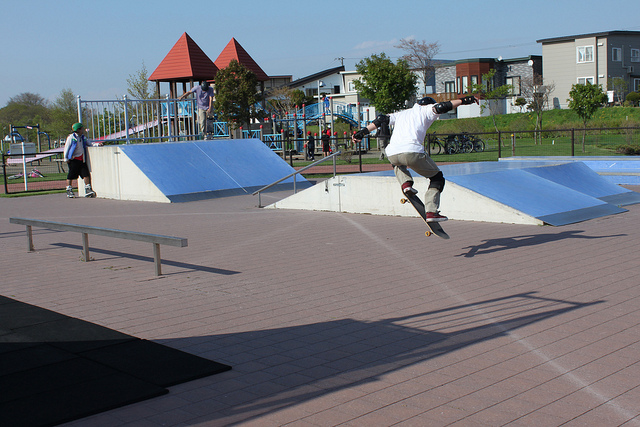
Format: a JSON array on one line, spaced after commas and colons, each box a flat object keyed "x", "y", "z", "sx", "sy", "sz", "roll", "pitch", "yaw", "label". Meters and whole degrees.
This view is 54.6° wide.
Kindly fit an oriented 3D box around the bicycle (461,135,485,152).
[{"x": 8.291, "y": -3.672, "z": 32.926, "sx": 1.473, "sy": 0.738, "sz": 0.669, "roll": 11, "pitch": -15, "yaw": -27, "label": "bicycle"}]

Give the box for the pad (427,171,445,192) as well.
[{"x": 1.773, "y": -0.483, "z": 9.518, "sx": 0.222, "sy": 0.320, "sz": 0.315, "roll": 1, "pitch": 15, "yaw": 13, "label": "pad"}]

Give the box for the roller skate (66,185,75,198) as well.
[{"x": -7.140, "y": -0.661, "z": 17.741, "sx": 0.169, "sy": 0.375, "sz": 0.532, "roll": -10, "pitch": 16, "yaw": -23, "label": "roller skate"}]

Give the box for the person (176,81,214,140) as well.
[{"x": -3.931, "y": -3.374, "z": 20.428, "sx": 0.878, "sy": 1.956, "sz": 1.068, "roll": -6, "pitch": 16, "yaw": -8, "label": "person"}]

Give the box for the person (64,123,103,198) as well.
[{"x": -6.706, "y": -1.484, "z": 17.447, "sx": 1.045, "sy": 2.117, "sz": 1.519, "roll": -7, "pitch": 16, "yaw": -15, "label": "person"}]

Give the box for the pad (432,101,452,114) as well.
[{"x": 1.842, "y": -1.589, "z": 9.239, "sx": 0.190, "sy": 0.095, "sz": 0.239, "roll": -14, "pitch": 1, "yaw": 37, "label": "pad"}]

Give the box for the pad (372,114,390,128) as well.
[{"x": 0.986, "y": -1.473, "z": 9.855, "sx": 0.278, "sy": 0.106, "sz": 0.199, "roll": -9, "pitch": -3, "yaw": 31, "label": "pad"}]

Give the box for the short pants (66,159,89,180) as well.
[{"x": -6.826, "y": -1.260, "z": 17.493, "sx": 0.632, "sy": 0.607, "sz": 0.387, "roll": -11, "pitch": 17, "yaw": -28, "label": "short pants"}]

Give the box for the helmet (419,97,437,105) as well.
[{"x": 1.643, "y": -1.748, "z": 9.546, "sx": 0.236, "sy": 0.107, "sz": 0.307, "roll": 0, "pitch": 14, "yaw": 10, "label": "helmet"}]
